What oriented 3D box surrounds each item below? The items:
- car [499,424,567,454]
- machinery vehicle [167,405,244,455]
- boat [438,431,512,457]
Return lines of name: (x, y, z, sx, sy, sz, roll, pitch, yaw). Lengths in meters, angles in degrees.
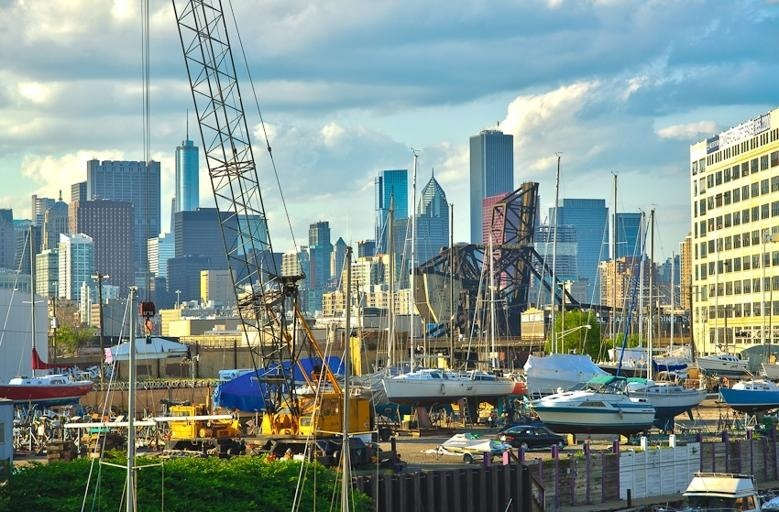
car: (14.975, 18.681, 161.826, 6.120, 2.084, 2.820, -2, 3, -17)
machinery vehicle: (-18.806, 17.798, 158.592, 6.802, 3.626, 4.359, 2, 0, 41)
boat: (8.573, 19.114, 158.011, 5.772, 1.754, 2.803, 2, 0, 28)
